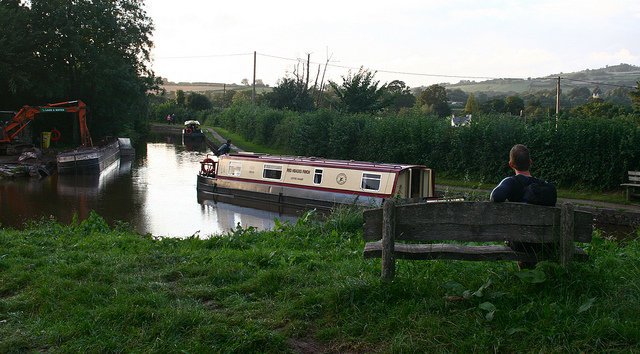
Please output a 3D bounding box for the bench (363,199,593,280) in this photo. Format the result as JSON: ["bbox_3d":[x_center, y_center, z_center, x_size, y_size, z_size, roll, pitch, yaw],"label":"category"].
[{"bbox_3d":[3.571,1.486,12.360,5.069,1.905,0.459,0,12,5],"label":"bench"}]

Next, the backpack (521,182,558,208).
[{"bbox_3d":[5.424,0.289,12.916,0.715,0.342,0.924,-5,10,9],"label":"backpack"}]
